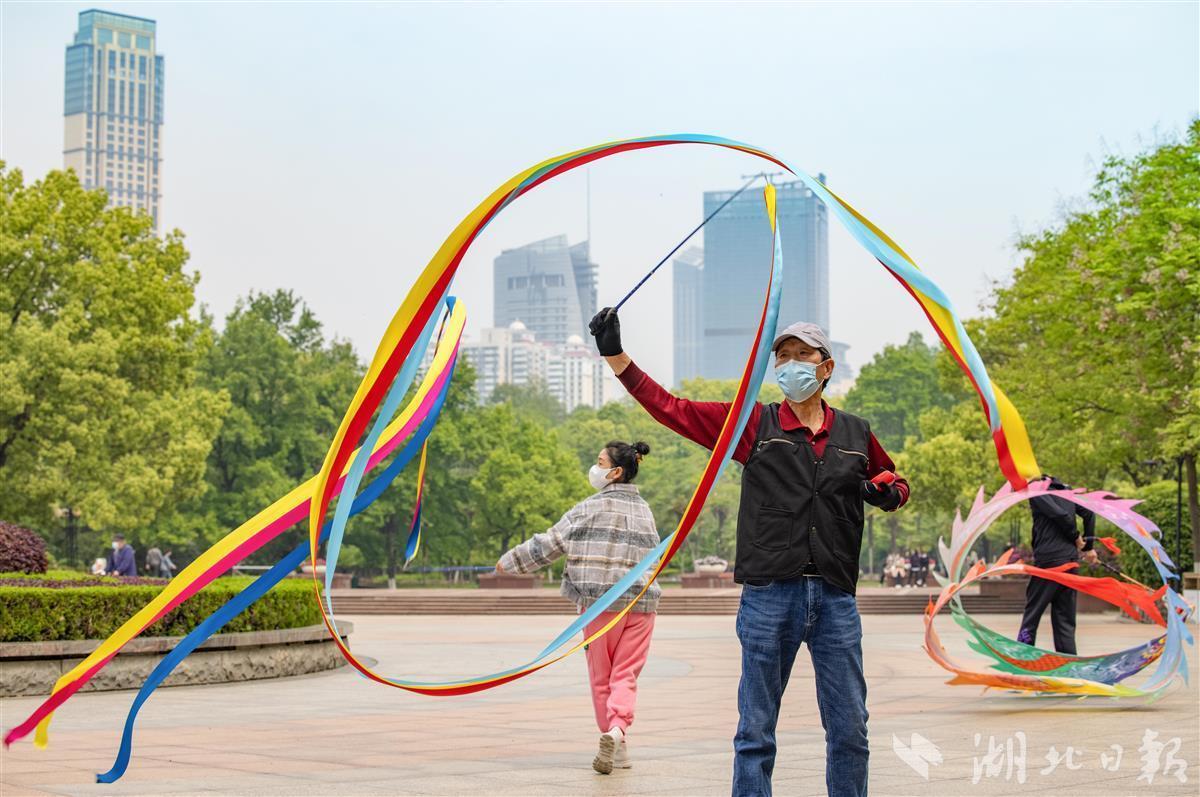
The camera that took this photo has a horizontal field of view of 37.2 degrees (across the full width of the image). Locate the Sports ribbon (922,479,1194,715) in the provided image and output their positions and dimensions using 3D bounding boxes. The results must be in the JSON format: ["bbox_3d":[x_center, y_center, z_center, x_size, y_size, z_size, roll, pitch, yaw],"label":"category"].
[{"bbox_3d":[7.367,3.421,28.963,4.000,3.709,1.735,27,4,11],"label":"Sports ribbon"}]

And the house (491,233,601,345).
[{"bbox_3d":[-10.687,-18.250,291.948,14.873,15.614,14.194,-2,6,-23],"label":"house"}]

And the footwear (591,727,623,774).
[{"bbox_3d":[0.110,4.949,25.097,0.303,0.754,0.379,3,5,3],"label":"footwear"}]

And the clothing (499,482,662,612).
[{"bbox_3d":[-0.156,2.137,26.181,2.695,1.815,1.704,13,-5,-17],"label":"clothing"}]

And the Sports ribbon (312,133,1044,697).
[{"bbox_3d":[-0.766,-0.121,25.032,10.514,6.083,2.438,-31,3,27],"label":"Sports ribbon"}]

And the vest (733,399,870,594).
[{"bbox_3d":[2.619,1.284,23.287,2.113,2.962,1.561,4,-13,-4],"label":"vest"}]

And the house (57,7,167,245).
[{"bbox_3d":[-42.366,-25.447,162.609,8.265,20.361,6.262,12,32,10],"label":"house"}]
